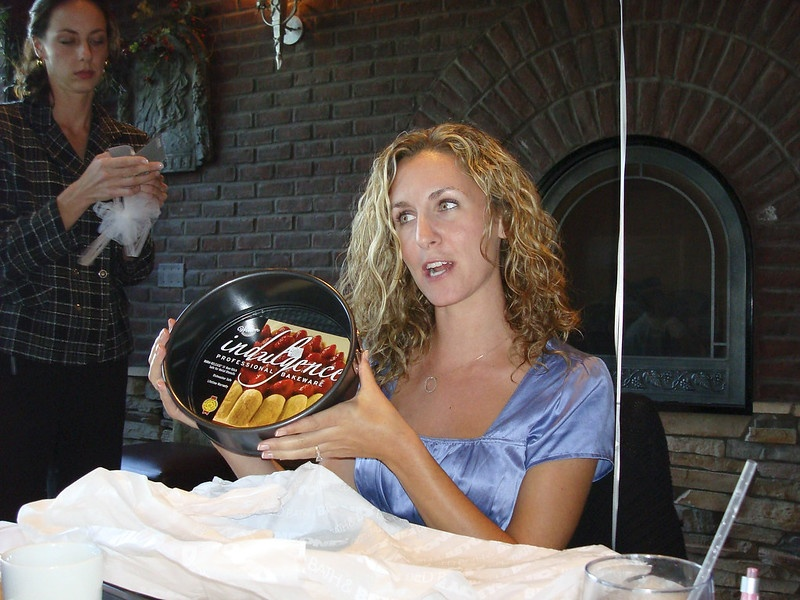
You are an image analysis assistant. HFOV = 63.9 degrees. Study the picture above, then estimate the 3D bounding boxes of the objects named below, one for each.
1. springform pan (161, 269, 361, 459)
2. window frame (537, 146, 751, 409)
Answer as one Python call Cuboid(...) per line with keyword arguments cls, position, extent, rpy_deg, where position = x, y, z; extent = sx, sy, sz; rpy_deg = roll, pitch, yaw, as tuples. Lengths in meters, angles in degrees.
Cuboid(cls="springform pan", position=(-0.174, 0.121, 1.006), extent=(0.277, 0.282, 0.085), rpy_deg=(-23, -28, -5))
Cuboid(cls="window frame", position=(0.819, -0.074, 2.036), extent=(0.850, 1.031, 0.044), rpy_deg=(1, 0, 24))
